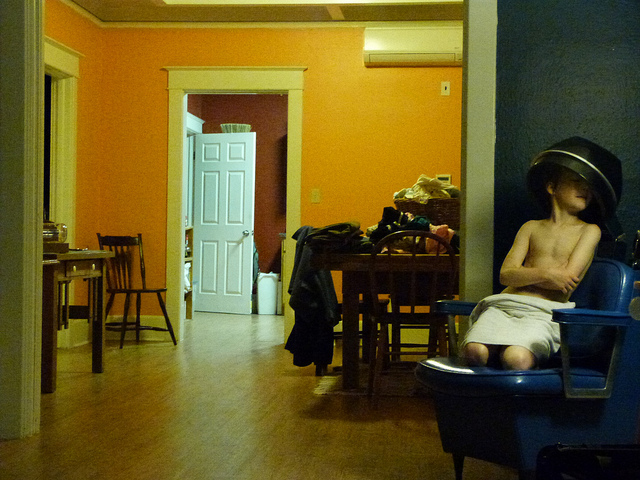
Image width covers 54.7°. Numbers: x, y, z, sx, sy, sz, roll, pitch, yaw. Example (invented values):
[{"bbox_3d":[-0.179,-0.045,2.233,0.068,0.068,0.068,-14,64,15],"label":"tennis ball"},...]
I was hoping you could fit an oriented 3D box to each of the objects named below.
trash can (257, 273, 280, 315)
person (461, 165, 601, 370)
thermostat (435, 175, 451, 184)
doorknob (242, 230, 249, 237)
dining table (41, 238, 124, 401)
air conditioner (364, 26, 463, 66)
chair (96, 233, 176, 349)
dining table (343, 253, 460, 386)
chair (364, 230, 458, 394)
[{"bbox_3d":[-0.503,0.670,7.613,0.458,0.476,0.406,1,0,-2],"label":"trash can"},{"bbox_3d":[0.812,0.171,2.476,0.428,0.878,0.460,2,2,-9],"label":"person"},{"bbox_3d":[1.108,-0.552,5.557,0.142,0.073,0.235,1,1,9],"label":"thermostat"},{"bbox_3d":[-0.877,-0.067,7.283,0.055,0.069,0.027,0,4,8],"label":"doorknob"},{"bbox_3d":[-1.628,0.458,4.426,0.546,0.660,0.710,-5,-7,-26],"label":"dining table"},{"bbox_3d":[0.843,-1.777,5.633,0.874,0.378,0.130,0,1,2],"label":"air conditioner"},{"bbox_3d":[-1.636,0.441,5.485,0.617,0.917,0.496,8,3,30],"label":"chair"},{"bbox_3d":[0.510,0.516,3.878,0.778,1.232,0.682,-1,-10,6],"label":"dining table"},{"bbox_3d":[0.525,0.425,3.765,0.547,1.015,0.571,0,-2,6],"label":"chair"}]
